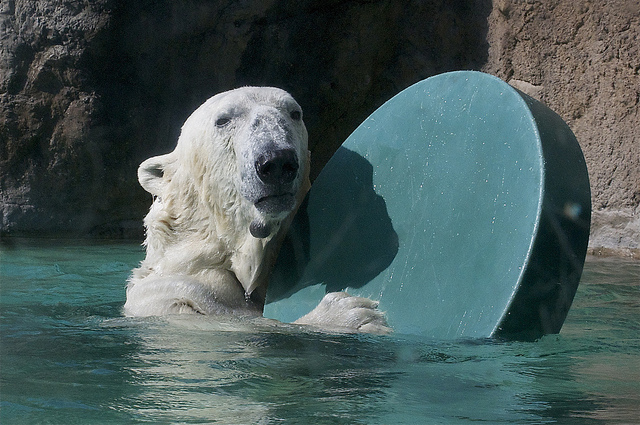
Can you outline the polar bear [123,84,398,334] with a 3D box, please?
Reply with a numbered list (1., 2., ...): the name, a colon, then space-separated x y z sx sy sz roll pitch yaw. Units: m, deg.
1. polar bear: -0.673 0.168 13.050 2.554 2.137 3.093 4 -27 -19
